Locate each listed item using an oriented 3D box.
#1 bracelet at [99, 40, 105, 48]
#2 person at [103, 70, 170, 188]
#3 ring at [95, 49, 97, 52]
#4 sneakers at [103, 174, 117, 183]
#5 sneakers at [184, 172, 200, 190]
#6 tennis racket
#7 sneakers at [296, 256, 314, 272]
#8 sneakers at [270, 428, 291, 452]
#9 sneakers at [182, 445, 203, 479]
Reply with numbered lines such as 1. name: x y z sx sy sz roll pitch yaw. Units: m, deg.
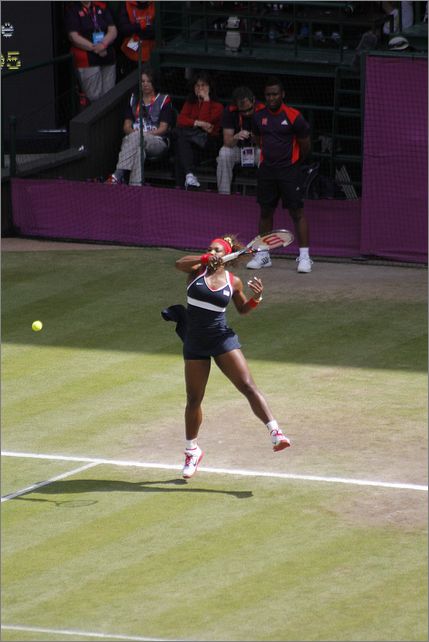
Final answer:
1. bracelet: -2.035 -5.033 16.204 0.077 0.142 0.128 -4 14 -5
2. person: -1.275 -3.202 14.702 0.953 1.859 1.172 2 16 14
3. ring: -2.155 -4.897 16.154 0.015 0.043 0.036 -2 11 19
4. sneakers: -1.707 -2.313 14.664 0.263 0.110 0.274 0 29 -2
5. sneakers: -0.381 -2.303 14.718 0.202 0.165 0.441 -7 0 -4
6. tennis racket: 0.213 -0.474 6.628 0.771 0.204 0.051 -21 45 12
7. sneakers: 1.237 -0.777 12.373 0.328 0.195 0.573 -2 1 3
8. sneakers: 0.434 0.818 6.041 0.114 0.196 0.261 -1 13 3
9. sneakers: -0.157 0.991 6.269 0.106 0.113 0.262 -1 35 24
